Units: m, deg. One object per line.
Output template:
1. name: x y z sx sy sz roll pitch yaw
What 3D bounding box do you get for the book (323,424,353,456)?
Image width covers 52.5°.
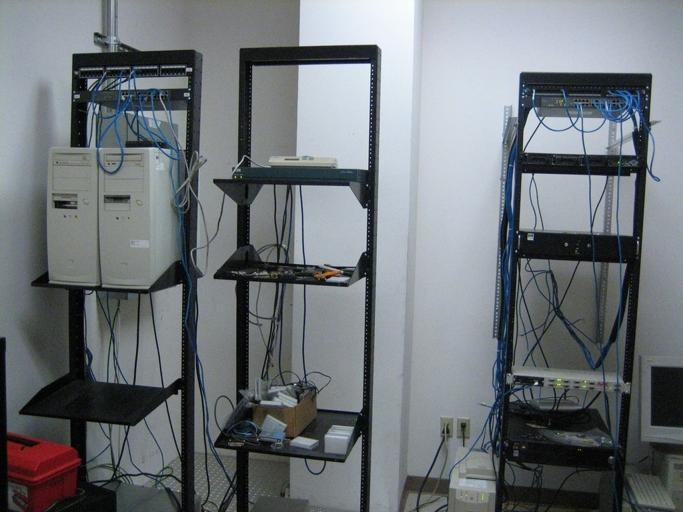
1. book: -0.019 0.875 3.302 0.126 0.068 0.190 0 -1 2

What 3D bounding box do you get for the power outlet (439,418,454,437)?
1. power outlet: 0.647 1.048 4.263 0.100 0.161 0.043 0 0 5

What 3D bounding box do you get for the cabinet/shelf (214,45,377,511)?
1. cabinet/shelf: -0.211 0.215 3.482 0.764 2.468 0.649 2 5 3

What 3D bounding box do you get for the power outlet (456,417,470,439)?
1. power outlet: 0.746 1.044 4.249 0.110 0.181 0.031 0 1 3
